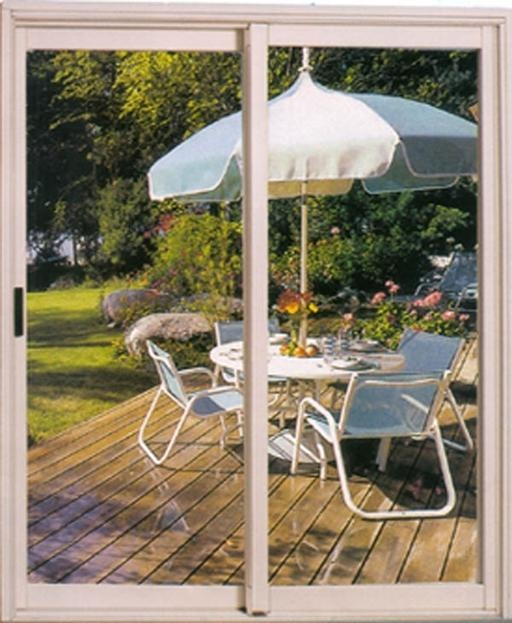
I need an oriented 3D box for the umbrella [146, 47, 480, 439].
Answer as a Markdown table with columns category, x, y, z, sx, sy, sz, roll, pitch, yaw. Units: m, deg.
| category | x | y | z | sx | sy | sz | roll | pitch | yaw |
| --- | --- | --- | --- | --- | --- | --- | --- | --- | --- |
| umbrella | 0.314 | -0.426 | 4.751 | 1.699 | 2.211 | 1.903 | -2 | 3 | -1 |
